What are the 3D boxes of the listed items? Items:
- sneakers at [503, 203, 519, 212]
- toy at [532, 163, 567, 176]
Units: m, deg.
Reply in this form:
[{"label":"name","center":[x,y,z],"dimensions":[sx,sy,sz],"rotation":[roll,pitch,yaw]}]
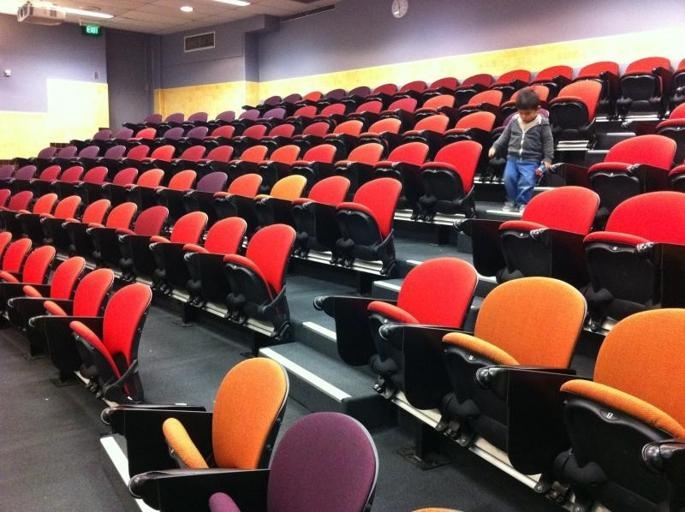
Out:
[{"label":"sneakers","center":[1.437,-0.415,3.975],"dimensions":[0.133,0.061,0.055],"rotation":[4,-1,-32]},{"label":"toy","center":[1.654,-0.699,3.737],"dimensions":[0.184,0.067,0.180],"rotation":[-6,6,-44]}]
